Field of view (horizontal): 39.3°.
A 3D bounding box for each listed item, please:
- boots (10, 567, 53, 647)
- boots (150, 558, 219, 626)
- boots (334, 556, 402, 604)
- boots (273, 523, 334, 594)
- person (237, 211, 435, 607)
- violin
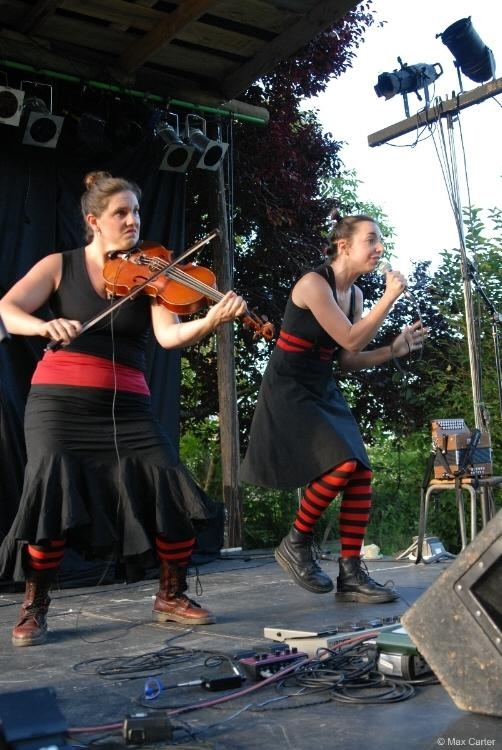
[{"bbox_3d":[-0.766,0.813,2.474,0.143,0.217,0.307,-5,2,-11],"label":"boots"},{"bbox_3d":[-0.265,0.846,2.681,0.235,0.218,0.296,7,0,-40],"label":"boots"},{"bbox_3d":[0.494,0.876,2.989,0.124,0.182,0.312,13,-19,-43],"label":"boots"},{"bbox_3d":[0.245,0.779,2.986,0.133,0.202,0.312,-7,31,-41],"label":"boots"},{"bbox_3d":[0.322,0.140,2.962,0.680,1.757,0.862,4,-7,-37],"label":"person"},{"bbox_3d":[-0.233,-0.326,2.791,0.757,0.106,0.314,26,28,34],"label":"violin"}]
